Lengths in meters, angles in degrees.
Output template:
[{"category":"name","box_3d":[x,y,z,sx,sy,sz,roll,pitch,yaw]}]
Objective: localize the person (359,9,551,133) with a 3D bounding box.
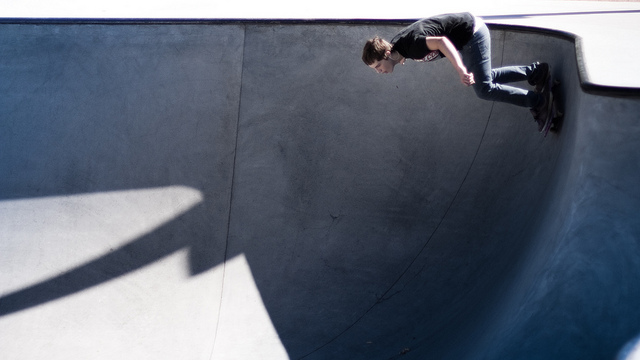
[{"category":"person","box_3d":[2.055,-1.635,7.932,2.690,1.533,0.607,7,-24,-15]}]
